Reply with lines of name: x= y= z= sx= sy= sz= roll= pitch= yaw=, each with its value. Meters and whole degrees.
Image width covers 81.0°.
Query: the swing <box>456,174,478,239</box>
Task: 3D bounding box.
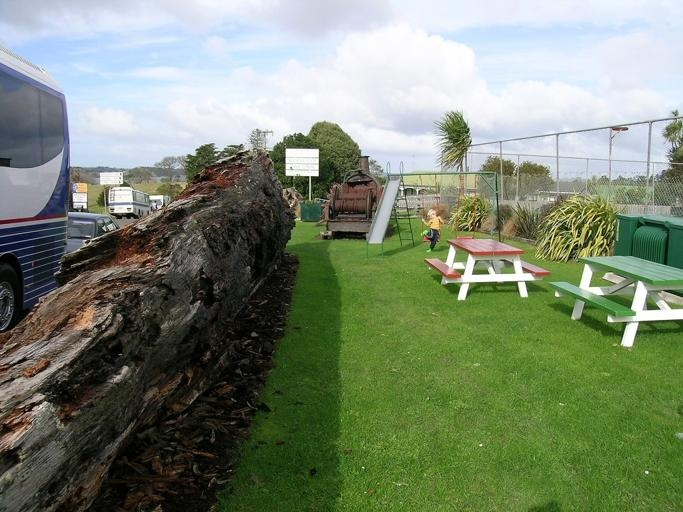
swing: x=5.804 y=-2.727 z=18.544 sx=0.659 sy=2.260 sz=5.286 roll=3 pitch=15 yaw=16

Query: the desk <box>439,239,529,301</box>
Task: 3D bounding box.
desk: x=2.676 y=0.215 z=7.626 sx=1.570 sy=0.924 sz=1.920 roll=-4 pitch=8 yaw=0
